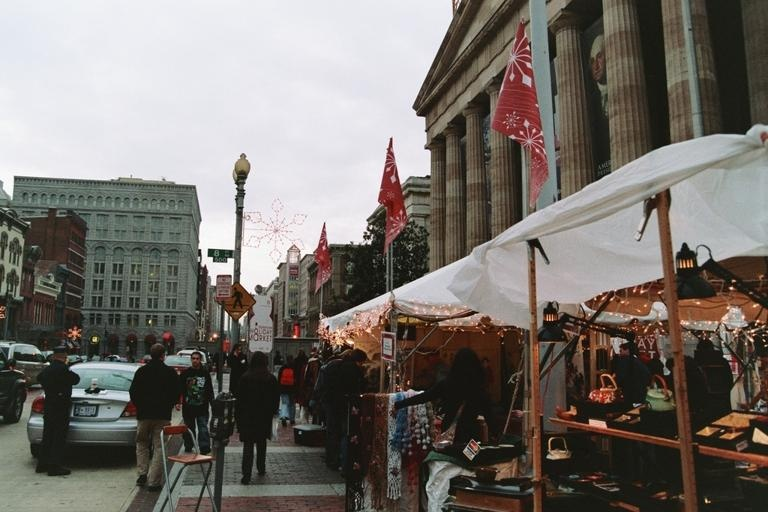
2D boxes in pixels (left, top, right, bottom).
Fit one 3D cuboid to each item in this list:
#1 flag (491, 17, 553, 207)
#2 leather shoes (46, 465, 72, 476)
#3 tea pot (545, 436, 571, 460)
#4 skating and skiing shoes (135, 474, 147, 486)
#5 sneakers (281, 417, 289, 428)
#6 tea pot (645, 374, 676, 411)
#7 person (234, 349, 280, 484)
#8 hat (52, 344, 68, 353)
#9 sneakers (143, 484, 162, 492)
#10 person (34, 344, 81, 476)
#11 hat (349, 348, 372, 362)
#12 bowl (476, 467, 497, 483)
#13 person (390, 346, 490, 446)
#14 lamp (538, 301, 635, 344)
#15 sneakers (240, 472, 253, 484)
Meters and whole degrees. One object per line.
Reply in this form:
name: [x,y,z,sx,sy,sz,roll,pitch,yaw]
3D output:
flag: [3.110,-3.389,16.556,1.297,4.292,0.711,8,-14,-32]
leather shoes: [-7.375,4.868,16.641,0.422,0.191,0.239,1,-1,-14]
tea pot: [3.174,3.561,13.517,0.402,0.373,0.356,1,-3,-6]
skating and skiing shoes: [-5.313,4.908,16.053,0.204,0.278,0.236,4,-13,-18]
sneakers: [-3.278,5.480,24.077,0.157,0.503,0.208,-1,4,1]
tea pot: [4.729,2.354,12.616,0.424,0.619,0.672,-4,5,-1]
person: [-2.967,3.723,17.033,0.951,2.955,0.956,2,-12,-9]
hat: [-7.617,2.196,17.249,0.259,0.243,0.265,-5,-9,37]
sneakers: [-4.970,4.971,15.758,0.392,0.173,0.142,2,-2,-28]
person: [-7.569,3.562,16.990,0.811,2.900,0.622,-5,-13,22]
hat: [-0.683,2.481,18.023,0.309,0.399,0.399,4,4,26]
bowl: [1.735,3.779,12.658,0.243,0.171,0.272,3,-17,-7]
person: [1.307,2.674,14.085,1.309,1.789,0.476,-2,-12,9]
lamp: [3.929,1.183,14.346,1.877,0.975,0.650,0,5,10]
sneakers: [-3.096,4.980,16.410,0.191,0.188,0.323,4,17,-12]
